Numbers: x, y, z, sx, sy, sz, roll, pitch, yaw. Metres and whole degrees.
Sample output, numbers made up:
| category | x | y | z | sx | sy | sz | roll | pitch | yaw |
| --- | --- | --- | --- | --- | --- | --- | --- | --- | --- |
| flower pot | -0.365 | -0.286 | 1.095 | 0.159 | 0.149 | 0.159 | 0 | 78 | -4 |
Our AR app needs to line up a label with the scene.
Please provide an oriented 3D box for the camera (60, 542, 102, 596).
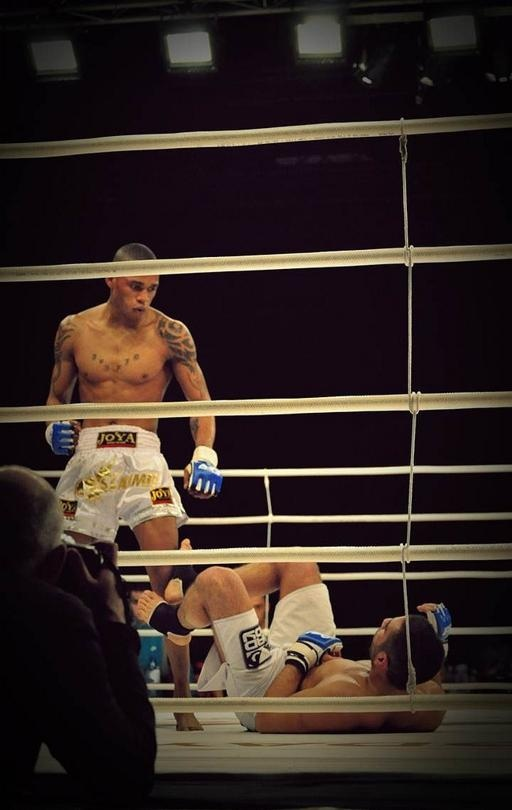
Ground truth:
| category | x | y | z | sx | sy | sz | roll | pitch | yaw |
| --- | --- | --- | --- | --- | --- | --- | --- | --- | --- |
| camera | -0.515 | 0.485 | 2.555 | 0.101 | 0.139 | 0.044 | 23 | -37 | -36 |

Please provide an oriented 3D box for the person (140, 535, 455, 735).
| category | x | y | z | sx | sy | sz | roll | pitch | yaw |
| --- | --- | --- | --- | --- | --- | --- | --- | --- | --- |
| person | 0.129 | 0.748 | 2.787 | 0.681 | 0.469 | 1.019 | -9 | 9 | -29 |
